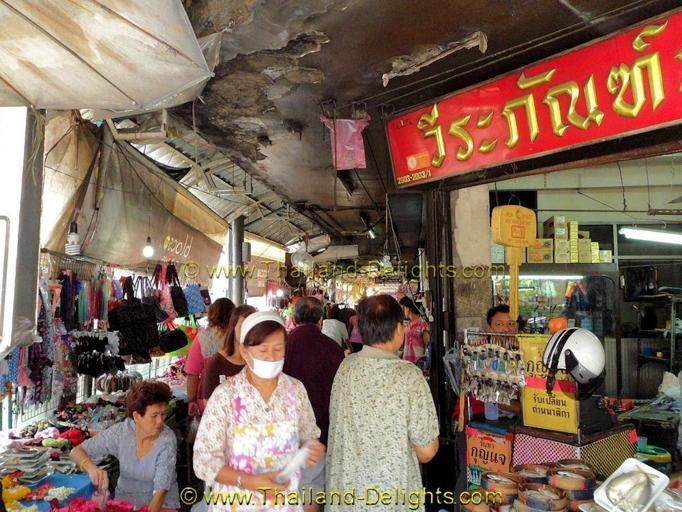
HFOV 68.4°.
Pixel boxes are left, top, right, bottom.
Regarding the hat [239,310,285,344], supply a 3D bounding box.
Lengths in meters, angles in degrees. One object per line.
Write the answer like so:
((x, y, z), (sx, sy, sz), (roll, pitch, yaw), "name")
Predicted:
((-0.476, 0.416, 2.732), (0.315, 0.136, 0.271), (-5, -9, -21), "hat")

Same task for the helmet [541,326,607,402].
((1.465, 0.679, 3.142), (0.332, 0.453, 0.328), (-2, -6, 30), "helmet")

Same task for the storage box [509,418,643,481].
((1.635, 1.328, 3.402), (0.852, 0.321, 0.365), (2, -5, -14), "storage box")

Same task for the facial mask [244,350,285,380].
((-0.405, 0.564, 2.599), (0.165, 0.088, 0.173), (4, -1, -10), "facial mask")

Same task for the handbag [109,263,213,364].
((-1.916, 0.609, 5.245), (0.558, 1.245, 1.269), (-11, -8, 19), "handbag")

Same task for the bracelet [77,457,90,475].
((-1.718, 1.405, 3.330), (0.046, 0.113, 0.097), (-16, -21, -28), "bracelet")
